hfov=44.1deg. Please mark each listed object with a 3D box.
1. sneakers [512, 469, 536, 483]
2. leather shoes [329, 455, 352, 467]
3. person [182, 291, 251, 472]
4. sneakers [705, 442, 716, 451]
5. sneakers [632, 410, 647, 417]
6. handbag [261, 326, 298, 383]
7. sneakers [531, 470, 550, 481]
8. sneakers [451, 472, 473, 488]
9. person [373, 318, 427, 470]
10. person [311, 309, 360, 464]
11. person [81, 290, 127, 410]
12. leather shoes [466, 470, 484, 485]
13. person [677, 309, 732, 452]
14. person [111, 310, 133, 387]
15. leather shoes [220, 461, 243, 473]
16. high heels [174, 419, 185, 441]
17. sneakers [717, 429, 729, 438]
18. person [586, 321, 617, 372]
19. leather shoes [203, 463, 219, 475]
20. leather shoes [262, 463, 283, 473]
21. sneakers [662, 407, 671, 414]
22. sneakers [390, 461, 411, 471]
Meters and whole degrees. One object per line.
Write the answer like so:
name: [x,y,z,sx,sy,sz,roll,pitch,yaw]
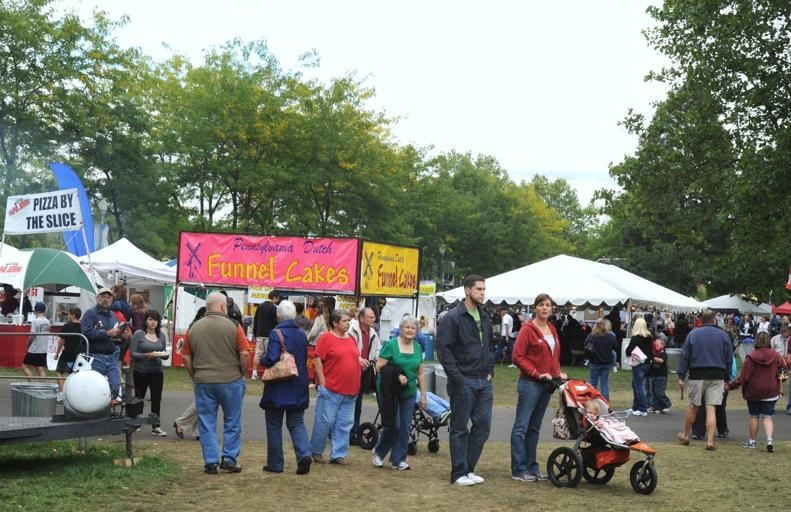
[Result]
sneakers: [2.872,4.937,21.873,0.544,0.195,0.207,-3,-4,14]
leather shoes: [-1.282,4.703,22.407,0.471,0.174,0.167,-1,-1,6]
person: [-3.973,2.769,21.518,1.306,3.907,0.583,3,-9,-13]
sneakers: [7.883,4.738,24.348,0.284,0.151,0.359,-1,-9,12]
sneakers: [7.015,4.488,28.010,0.398,0.171,0.168,4,-7,6]
handbag: [-2.545,2.192,21.696,0.760,1.202,0.276,0,-8,6]
sneakers: [3.280,4.923,21.996,0.429,0.162,0.143,4,-4,-44]
sneakers: [1.489,4.934,21.473,0.407,0.158,0.181,-3,1,11]
person: [0.093,3.119,22.432,1.132,3.457,0.773,2,-8,-2]
person: [-1.370,2.982,22.399,1.054,3.428,0.865,2,-8,-5]
person: [-7.102,2.378,24.304,1.188,3.023,1.252,0,3,36]
leather shoes: [1.752,4.892,21.624,0.427,0.164,0.183,-3,-5,36]
person: [7.755,3.040,24.413,1.288,3.450,0.754,-1,-9,16]
person: [-6.882,2.258,24.456,0.587,0.664,1.878,2,28,-11]
leather shoes: [-3.648,4.609,21.668,0.548,0.190,0.259,14,-1,-3]
high heels: [-5.253,4.195,23.650,0.210,0.512,0.193,-15,6,16]
sneakers: [8.590,4.628,25.577,0.134,0.164,0.403,0,1,36]
person: [5.957,2.493,28.181,0.761,1.397,1.431,0,-9,9]
leather shoes: [-4.052,4.641,21.466,0.288,0.251,0.177,4,-9,-19]
leather shoes: [-2.752,4.701,21.845,0.480,0.190,0.170,8,4,26]
sneakers: [7.895,4.470,28.435,0.132,0.161,0.389,3,2,26]
sneakers: [0.109,4.771,22.348,0.396,0.164,0.194,-6,-8,23]
